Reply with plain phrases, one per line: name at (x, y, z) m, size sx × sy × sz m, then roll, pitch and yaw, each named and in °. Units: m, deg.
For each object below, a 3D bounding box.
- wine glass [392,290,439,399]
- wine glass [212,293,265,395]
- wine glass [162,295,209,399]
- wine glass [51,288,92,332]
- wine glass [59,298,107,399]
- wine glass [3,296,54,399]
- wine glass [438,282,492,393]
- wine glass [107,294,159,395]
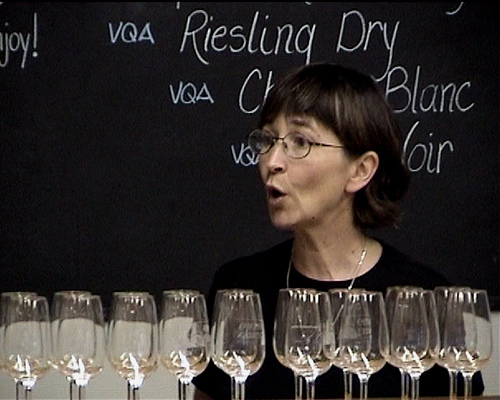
wine glass at (0.499, 0.425, 2.219) m, size 0.113 × 0.314 × 0.178 m, roll -7°, pitch -10°, yaw 42°
wine glass at (-0.033, 0.414, 2.173) m, size 0.148 × 0.286 × 0.089 m, roll -1°, pitch -7°, yaw 1°
wine glass at (-0.186, 0.406, 2.153) m, size 0.132 × 0.267 × 0.060 m, roll 0°, pitch -7°, yaw -7°
wine glass at (-0.534, 0.331, 2.246) m, size 0.129 × 0.153 × 0.144 m, roll 1°, pitch -5°, yaw -3°
wine glass at (-0.488, 0.430, 2.195) m, size 0.130 × 0.286 × 0.087 m, roll 0°, pitch -7°, yaw -5°
wine glass at (-0.648, 0.426, 2.196) m, size 0.141 × 0.290 × 0.078 m, roll 2°, pitch -7°, yaw -21°
wine glass at (0.640, 0.421, 2.259) m, size 0.159 × 0.310 × 0.122 m, roll -1°, pitch -7°, yaw 7°
wine glass at (-0.337, 0.409, 2.163) m, size 0.147 × 0.271 × 0.063 m, roll 1°, pitch -7°, yaw -12°
